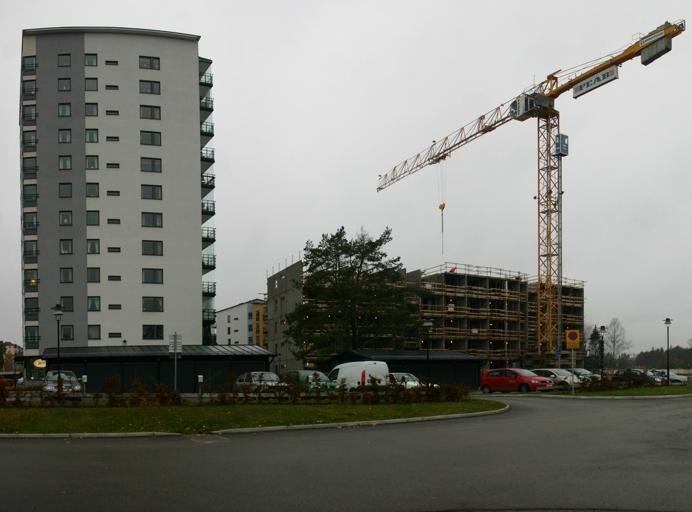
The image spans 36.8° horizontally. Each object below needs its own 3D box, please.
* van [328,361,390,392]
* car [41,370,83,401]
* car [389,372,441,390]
[{"bbox_3d":[0.763,7.383,63.399,1.768,1.611,3.107,5,-5,-43],"label":"van"},{"bbox_3d":[-17.527,7.999,64.521,2.329,1.900,4.173,4,-12,-29],"label":"car"},{"bbox_3d":[3.584,7.813,62.730,2.157,0.947,1.285,-2,-4,-6],"label":"car"}]
